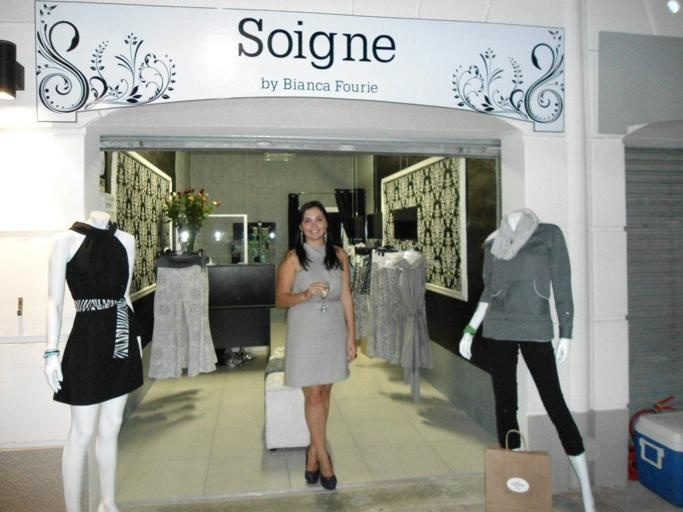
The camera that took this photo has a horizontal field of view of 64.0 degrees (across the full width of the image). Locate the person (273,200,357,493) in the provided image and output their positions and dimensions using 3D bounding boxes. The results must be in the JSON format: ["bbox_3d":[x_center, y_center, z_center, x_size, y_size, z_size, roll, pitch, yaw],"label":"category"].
[{"bbox_3d":[-0.188,0.655,4.103,0.602,2.119,0.384,-1,5,-2],"label":"person"}]

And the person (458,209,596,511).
[{"bbox_3d":[1.291,0.677,3.772,0.864,1.991,0.243,2,5,28],"label":"person"}]

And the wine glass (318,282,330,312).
[{"bbox_3d":[-0.121,0.294,3.978,0.068,0.228,0.185,-1,5,-3],"label":"wine glass"}]

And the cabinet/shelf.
[{"bbox_3d":[-1.591,0.563,5.420,0.599,1.171,0.291,-2,5,-15],"label":"cabinet/shelf"}]

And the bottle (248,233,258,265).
[{"bbox_3d":[-1.457,-0.135,9.046,0.171,0.387,0.490,-2,6,-9],"label":"bottle"}]

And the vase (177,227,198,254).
[{"bbox_3d":[-1.800,-0.186,6.376,0.270,0.378,0.275,0,-2,15],"label":"vase"}]

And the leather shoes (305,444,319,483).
[{"bbox_3d":[-0.232,1.563,4.216,0.095,0.293,0.073,-1,-7,-4],"label":"leather shoes"}]

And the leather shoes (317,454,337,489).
[{"bbox_3d":[-0.096,1.649,4.129,0.138,0.133,0.157,-1,6,-3],"label":"leather shoes"}]

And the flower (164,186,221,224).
[{"bbox_3d":[-2.019,-0.676,7.343,0.607,0.454,0.630,5,9,33],"label":"flower"}]
